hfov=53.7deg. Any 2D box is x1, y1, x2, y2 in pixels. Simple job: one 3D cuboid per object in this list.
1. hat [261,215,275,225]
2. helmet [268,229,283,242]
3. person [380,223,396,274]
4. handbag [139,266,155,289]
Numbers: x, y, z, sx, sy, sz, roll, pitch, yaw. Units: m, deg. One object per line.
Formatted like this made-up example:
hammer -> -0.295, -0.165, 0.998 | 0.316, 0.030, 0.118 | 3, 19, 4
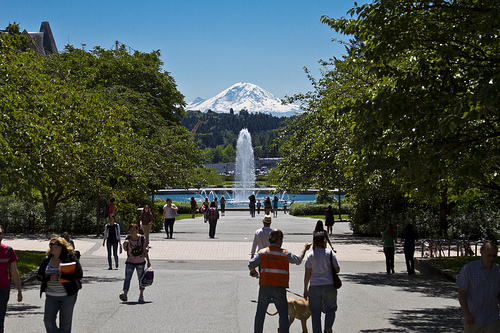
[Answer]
hat -> 0.472, 1.583, 13.931 | 0.375, 0.200, 0.485 | 5, 3, -7
helmet -> 0.526, 1.451, 10.550 | 0.215, 0.298, 0.276 | 10, 18, 33
person -> 5.571, 3.264, 19.798 | 0.523, 1.984, 1.078 | -1, -6, 15
handbag -> -2.909, 3.103, 13.832 | 0.474, 0.538, 0.246 | -4, -7, 36
